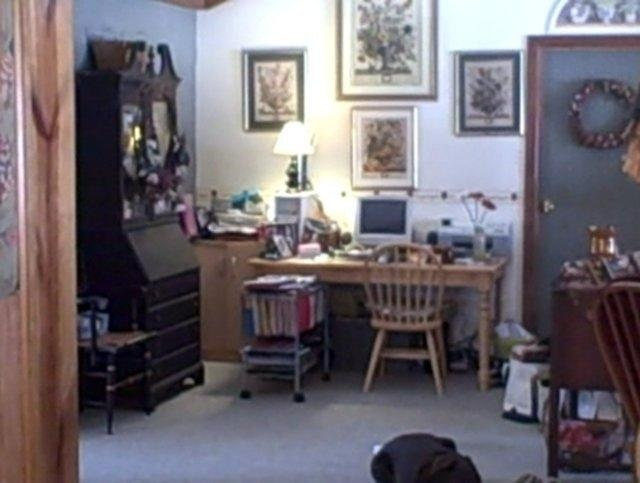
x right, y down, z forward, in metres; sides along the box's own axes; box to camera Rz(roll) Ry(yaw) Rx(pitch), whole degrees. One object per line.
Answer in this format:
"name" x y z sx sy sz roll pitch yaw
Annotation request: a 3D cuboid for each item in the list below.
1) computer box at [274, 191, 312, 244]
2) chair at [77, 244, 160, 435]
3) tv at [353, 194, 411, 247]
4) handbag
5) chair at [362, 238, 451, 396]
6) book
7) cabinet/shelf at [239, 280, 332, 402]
"computer box" -0.192 -0.134 4.645 0.279 0.463 0.330 3 6 18
"chair" -1.219 0.536 3.568 0.459 1.089 0.391 -2 8 -7
"tv" 0.491 -0.098 4.676 0.566 0.525 0.316 -1 -3 9
"handbag" 1.234 0.891 3.629 0.225 0.399 0.266 3 -1 34
"chair" 0.605 0.472 4.246 0.557 1.029 0.691 1 8 12
"book" -0.236 0.526 4.148 0.478 0.614 0.573 0 8 10
"cabinet/shelf" -0.251 0.626 4.162 0.495 0.747 0.569 -1 3 22
